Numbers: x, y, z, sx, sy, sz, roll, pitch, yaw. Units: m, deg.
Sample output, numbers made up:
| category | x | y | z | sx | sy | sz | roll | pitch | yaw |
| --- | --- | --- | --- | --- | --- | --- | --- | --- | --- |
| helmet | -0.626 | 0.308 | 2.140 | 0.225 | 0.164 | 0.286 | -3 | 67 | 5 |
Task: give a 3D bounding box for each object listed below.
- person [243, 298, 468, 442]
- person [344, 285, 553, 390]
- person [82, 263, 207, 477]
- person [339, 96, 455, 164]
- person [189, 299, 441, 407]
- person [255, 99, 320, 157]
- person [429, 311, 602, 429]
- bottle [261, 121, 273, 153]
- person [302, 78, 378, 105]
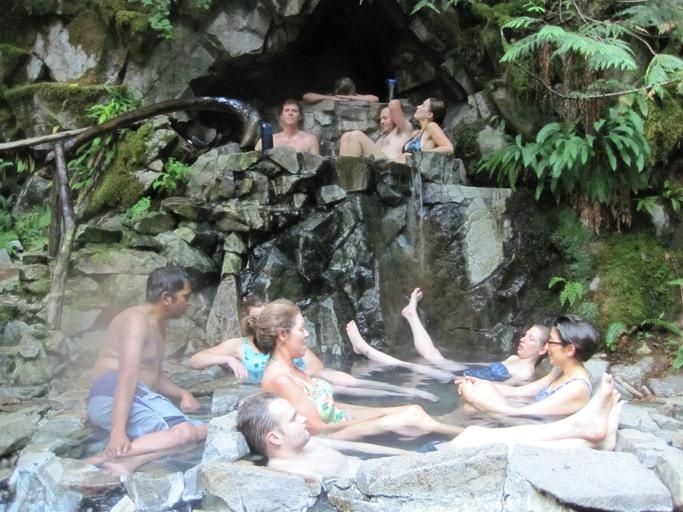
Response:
| category | x | y | z | sx | sy | sz | roll | pitch | yaw |
| --- | --- | --- | --- | --- | --- | --- | --- | --- | --- |
| person | 0.088 | 0.919 | 5.185 | 1.892 | 1.348 | 0.883 | -3 | 6 | 4 |
| person | 1.175 | 1.040 | 6.392 | 1.931 | 0.994 | 1.013 | 5 | 4 | 24 |
| person | -1.576 | 0.938 | 4.926 | 0.897 | 1.709 | 0.923 | 4 | -4 | -12 |
| person | 0.775 | -1.802 | 8.795 | 1.598 | 1.097 | 1.256 | 0 | 6 | -7 |
| person | -0.466 | 1.150 | 6.045 | 1.569 | 0.794 | 1.243 | 12 | 3 | 19 |
| person | -0.747 | -1.856 | 8.673 | 0.783 | 0.910 | 0.422 | -1 | -7 | 3 |
| person | 1.640 | 1.055 | 5.127 | 1.001 | 1.091 | 0.664 | 1 | 4 | 21 |
| bottle | -0.949 | -1.523 | 7.508 | 0.124 | 0.297 | 0.240 | 2 | 1 | -14 |
| person | -0.119 | -2.871 | 10.365 | 0.917 | 0.400 | 0.728 | -3 | 18 | -18 |
